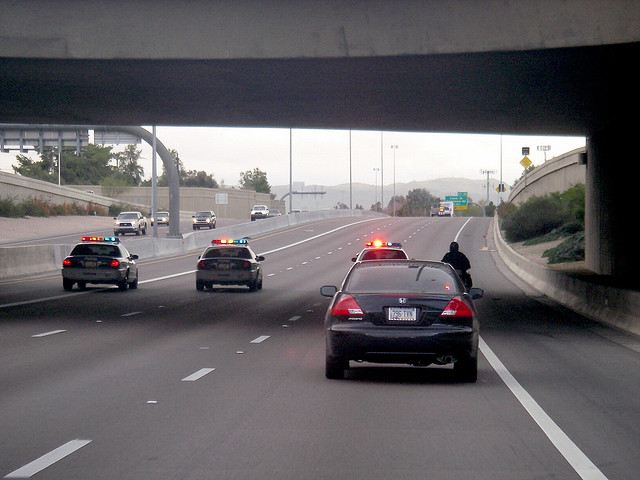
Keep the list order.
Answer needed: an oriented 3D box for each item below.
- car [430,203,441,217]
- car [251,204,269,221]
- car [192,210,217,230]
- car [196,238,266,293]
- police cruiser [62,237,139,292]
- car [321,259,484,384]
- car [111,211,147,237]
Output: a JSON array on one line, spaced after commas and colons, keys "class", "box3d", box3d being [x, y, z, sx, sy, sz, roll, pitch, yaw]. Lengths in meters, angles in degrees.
[{"class": "car", "box3d": [23.758, -6.020, 126.696, 2.406, 2.557, 4.392, 2, 6, 12]}, {"class": "car", "box3d": [-9.020, -4.094, 93.981, 2.583, 1.924, 4.848, -3, 6, -2]}, {"class": "car", "box3d": [-14.566, -2.457, 78.533, 2.571, 2.194, 3.120, -4, 6, -14]}, {"class": "car", "box3d": [-3.883, 1.218, 26.835, 2.842, 2.347, 1.417, -4, 6, -15]}, {"class": "police cruiser", "box3d": [-9.630, 1.075, 27.757, 2.728, 2.425, 6.156, 2, -2, -11]}, {"class": "car", "box3d": [1.283, 1.317, 9.526, 1.556, 1.200, 2.666, 1, 1, 5]}, {"class": "car", "box3d": [-21.303, -1.655, 69.662, 2.600, 2.686, 4.316, -2, 6, 1]}]
